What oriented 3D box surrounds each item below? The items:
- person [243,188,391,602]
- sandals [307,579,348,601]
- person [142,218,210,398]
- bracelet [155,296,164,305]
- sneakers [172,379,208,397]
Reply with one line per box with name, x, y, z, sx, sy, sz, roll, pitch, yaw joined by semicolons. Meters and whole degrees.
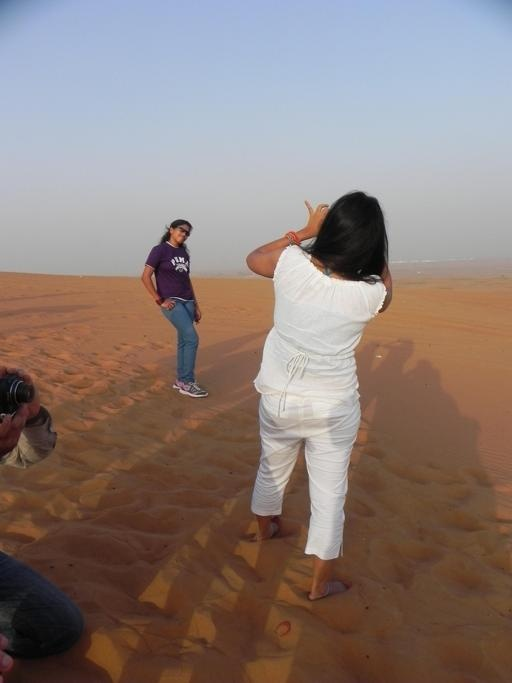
person;0.225;0.187;2.259;0.401;1.614;0.572;-2;10;-36
sandals;0.351;1.222;2.481;0.220;0.044;0.076;-6;18;-36
person;-0.919;-0.336;5.864;0.729;2.061;0.997;5;8;5
bracelet;-1.103;-0.447;5.691;0.084;0.061;0.079;-30;40;5
sneakers;-0.831;0.564;6.231;0.500;0.205;0.171;9;11;23
